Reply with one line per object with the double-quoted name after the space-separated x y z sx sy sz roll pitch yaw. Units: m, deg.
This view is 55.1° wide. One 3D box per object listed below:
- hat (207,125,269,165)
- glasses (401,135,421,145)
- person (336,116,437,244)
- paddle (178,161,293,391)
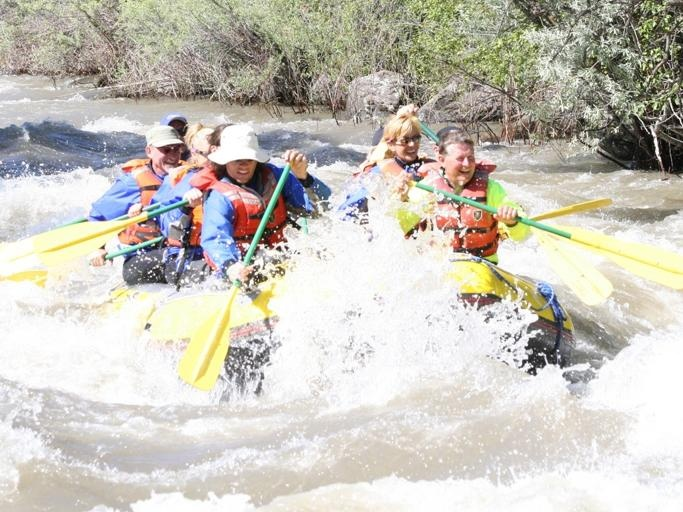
-0.772 -0.804 4.928 0.342 0.174 0.338 -1 -1 -7 "hat"
0.538 -0.951 5.342 0.110 0.037 0.111 -16 -16 -19 "glasses"
0.362 -0.499 5.216 0.712 0.274 0.445 -23 8 5 "person"
-0.616 -0.003 4.706 0.327 2.007 0.081 22 -14 11 "paddle"
